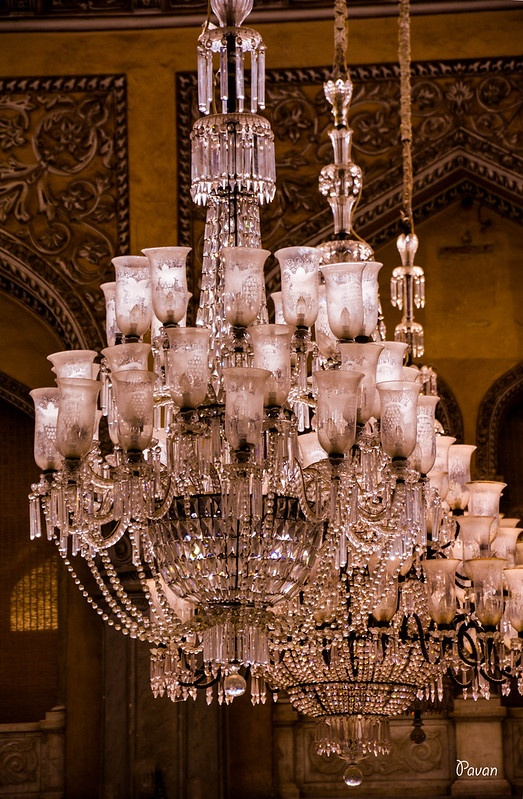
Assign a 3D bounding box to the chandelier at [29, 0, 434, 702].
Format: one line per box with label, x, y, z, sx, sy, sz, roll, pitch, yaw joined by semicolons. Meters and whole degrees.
chandelier;-0.140;-0.153;7.256;1.321;2.408;1.009;-1;-3;-7
